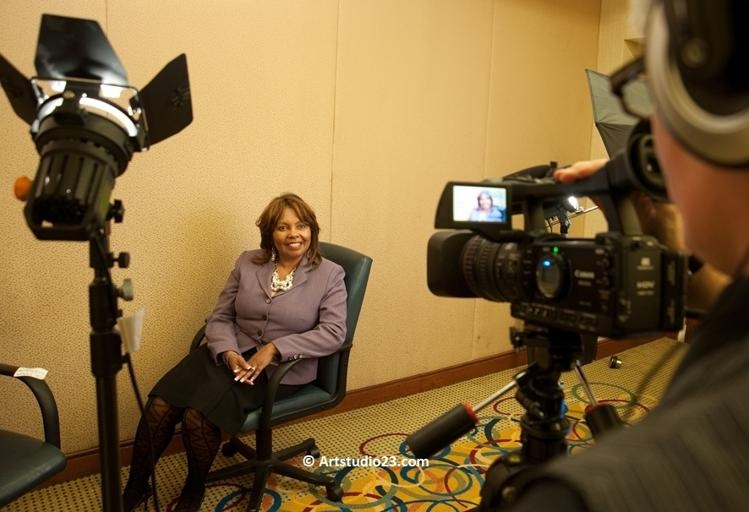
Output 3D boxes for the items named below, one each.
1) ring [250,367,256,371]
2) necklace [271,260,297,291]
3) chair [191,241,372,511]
[{"bbox_3d":[-0.578,0.533,2.496,0.020,0.015,0.008,-2,9,-11],"label":"ring"},{"bbox_3d":[-0.486,0.113,2.737,0.086,0.113,0.040,2,-27,10],"label":"necklace"},{"bbox_3d":[-0.428,0.561,2.706,0.886,1.147,0.728,-5,10,-29],"label":"chair"}]
